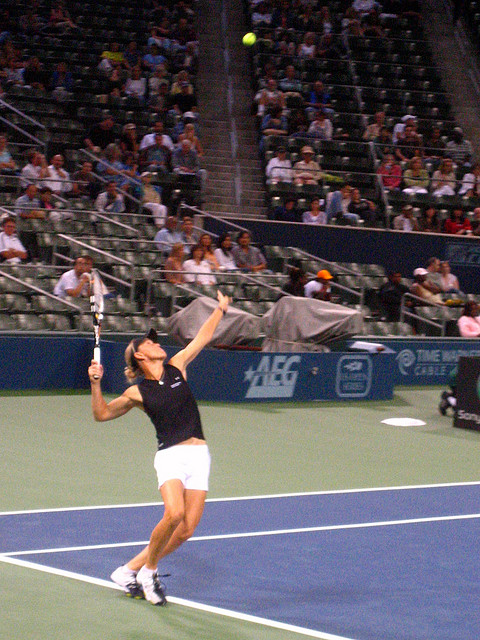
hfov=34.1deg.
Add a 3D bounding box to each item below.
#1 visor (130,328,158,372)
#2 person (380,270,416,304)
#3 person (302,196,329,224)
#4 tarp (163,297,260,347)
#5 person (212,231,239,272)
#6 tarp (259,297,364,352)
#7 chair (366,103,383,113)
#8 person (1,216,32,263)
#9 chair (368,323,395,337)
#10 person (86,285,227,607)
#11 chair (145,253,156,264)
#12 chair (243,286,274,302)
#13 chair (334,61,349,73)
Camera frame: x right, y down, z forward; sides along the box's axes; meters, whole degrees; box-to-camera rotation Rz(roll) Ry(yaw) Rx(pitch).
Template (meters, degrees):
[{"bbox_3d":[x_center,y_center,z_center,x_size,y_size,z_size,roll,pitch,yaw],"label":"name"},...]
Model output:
[{"bbox_3d":[-0.501,0.141,4.007,0.127,0.218,0.133,11,8,1],"label":"visor"},{"bbox_3d":[2.798,-0.559,13.904,0.538,0.706,0.930,0,1,43],"label":"person"},{"bbox_3d":[1.522,-2.193,15.571,0.524,0.588,0.859,5,4,6],"label":"person"},{"bbox_3d":[-0.297,0.028,9.819,0.901,0.293,0.666,5,16,-38],"label":"tarp"},{"bbox_3d":[-0.241,-1.142,13.143,0.433,0.631,0.901,4,4,-1],"label":"person"},{"bbox_3d":[0.957,-0.011,10.427,1.120,0.475,0.794,-4,12,-7],"label":"tarp"},{"bbox_3d":[3.375,-5.408,19.754,0.361,0.224,0.322,1,11,-3],"label":"chair"},{"bbox_3d":[-3.334,-1.194,11.652,0.411,0.646,0.935,4,4,-8],"label":"person"},{"bbox_3d":[2.348,0.132,12.934,0.527,0.255,0.305,-1,2,-15],"label":"chair"},{"bbox_3d":[-0.445,0.746,3.838,0.532,1.294,0.498,7,6,21],"label":"person"},{"bbox_3d":[-1.450,-1.001,12.627,0.135,0.167,0.143,13,-5,-35],"label":"chair"},{"bbox_3d":[0.272,-0.441,12.509,0.353,0.314,0.334,-1,-2,17],"label":"chair"},{"bbox_3d":[2.689,-6.813,20.811,0.376,0.249,0.366,4,2,31],"label":"chair"}]
